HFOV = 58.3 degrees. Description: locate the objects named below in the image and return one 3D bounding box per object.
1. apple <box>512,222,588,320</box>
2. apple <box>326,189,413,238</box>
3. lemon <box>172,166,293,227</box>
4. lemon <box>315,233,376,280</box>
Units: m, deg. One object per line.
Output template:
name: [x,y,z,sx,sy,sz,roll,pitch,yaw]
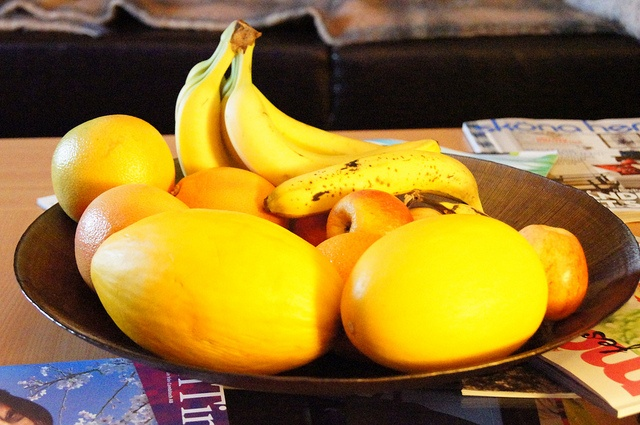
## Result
apple: [0.269,0.076,0.699,0.100,0.099,0.117,3,83,14]
apple: [0.057,-0.001,0.687,0.067,0.070,0.070,-7,116,-13]
lemon: [-0.111,-0.043,0.728,0.121,0.077,0.071,19,99,-6]
lemon: [0.043,0.044,0.656,0.069,0.085,0.045,-8,83,-12]
